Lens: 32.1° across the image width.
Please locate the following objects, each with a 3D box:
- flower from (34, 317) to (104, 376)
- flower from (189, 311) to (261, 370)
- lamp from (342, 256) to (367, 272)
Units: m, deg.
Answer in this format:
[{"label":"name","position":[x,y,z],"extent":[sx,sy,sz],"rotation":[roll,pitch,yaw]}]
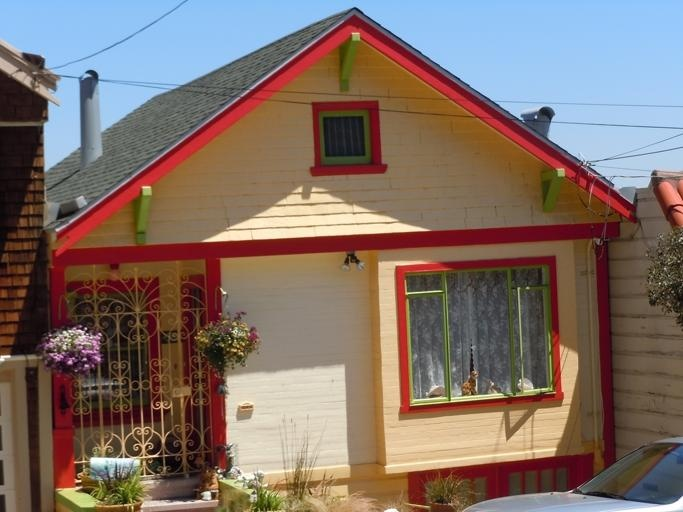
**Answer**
[{"label":"flower","position":[-4.399,1.476,19.535],"extent":[0.873,0.698,0.877],"rotation":[4,-1,4]},{"label":"flower","position":[-1.902,1.386,19.961],"extent":[1.042,1.071,0.952],"rotation":[1,-1,-14]},{"label":"lamp","position":[0.201,0.092,21.067],"extent":[0.400,0.298,0.357],"rotation":[-1,-9,0]}]
